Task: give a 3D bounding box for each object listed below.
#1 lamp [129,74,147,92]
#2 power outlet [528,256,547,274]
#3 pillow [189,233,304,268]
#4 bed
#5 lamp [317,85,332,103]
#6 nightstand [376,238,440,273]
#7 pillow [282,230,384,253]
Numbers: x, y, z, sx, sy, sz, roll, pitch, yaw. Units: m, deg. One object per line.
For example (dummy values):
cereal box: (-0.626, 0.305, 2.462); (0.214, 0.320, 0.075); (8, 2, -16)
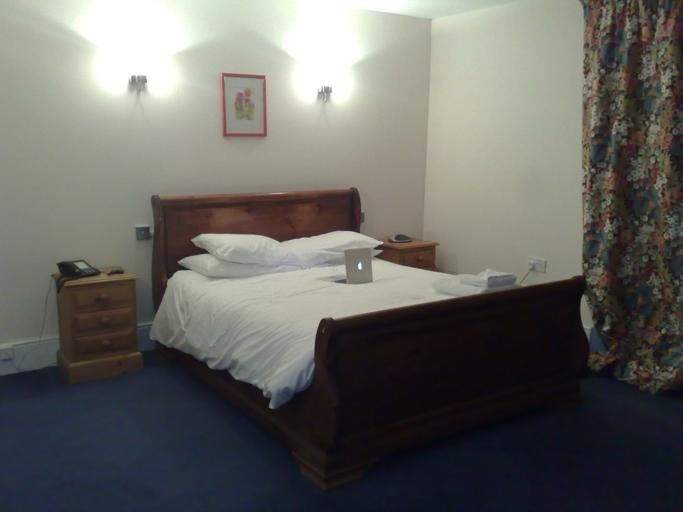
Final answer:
lamp: (-1.730, -1.447, 4.138); (0.131, 0.143, 0.036); (-5, 16, -19)
power outlet: (1.891, 0.086, 4.712); (0.020, 0.111, 0.146); (-9, 13, -31)
pillow: (-0.792, -0.054, 4.225); (0.492, 0.151, 0.435); (6, 20, -41)
bed: (0.002, 0.554, 3.877); (2.181, 1.562, 2.393); (-7, 13, -33)
lamp: (-0.158, -1.630, 4.957); (0.174, 0.159, 0.099); (-5, 8, -16)
nightstand: (0.721, -0.033, 5.195); (0.373, 0.403, 0.379); (-5, 9, -36)
pillow: (-0.101, -0.125, 4.683); (0.551, 0.104, 0.380); (-4, 12, -26)
